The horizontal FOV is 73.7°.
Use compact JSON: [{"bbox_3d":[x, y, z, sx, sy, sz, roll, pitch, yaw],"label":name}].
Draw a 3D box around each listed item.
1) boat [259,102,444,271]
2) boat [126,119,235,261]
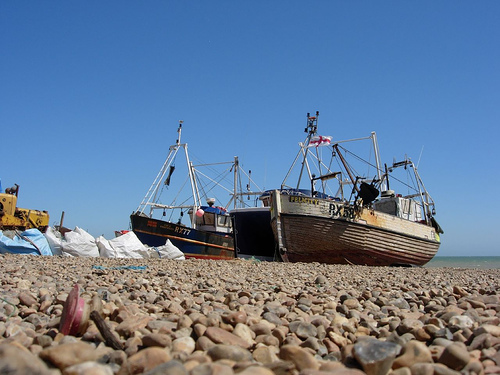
[{"bbox_3d":[5.531,0.377,16.042,11.604,7.024,4.574,11,-16,-36],"label":"boat"},{"bbox_3d":[-2.424,0.582,18.352,3.088,6.116,10.275,7,0,21],"label":"boat"}]
